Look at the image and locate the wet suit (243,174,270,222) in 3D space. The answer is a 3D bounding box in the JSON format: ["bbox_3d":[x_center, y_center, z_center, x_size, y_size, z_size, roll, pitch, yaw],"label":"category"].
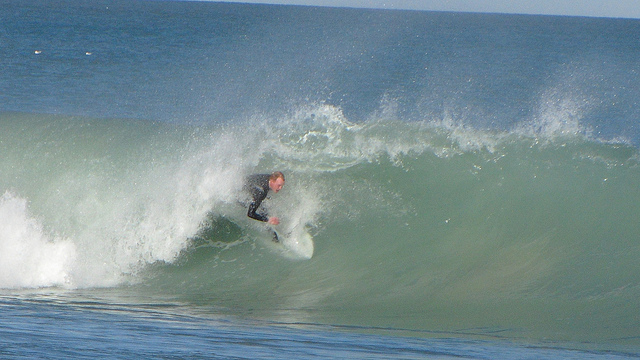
[{"bbox_3d":[-2.592,0.759,32.264,0.978,1.878,0.914,1,0,14],"label":"wet suit"}]
